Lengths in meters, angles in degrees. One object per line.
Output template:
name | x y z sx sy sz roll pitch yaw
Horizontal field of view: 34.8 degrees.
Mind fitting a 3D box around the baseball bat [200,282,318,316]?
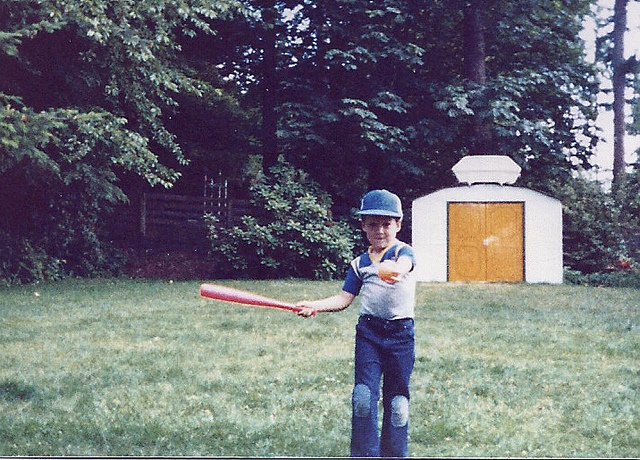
baseball bat | -0.613 0.673 10.031 1.354 0.200 0.188 8 30 23

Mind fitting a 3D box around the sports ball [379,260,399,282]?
sports ball | 0.672 0.397 9.739 0.181 0.203 0.081 0 1 -20
